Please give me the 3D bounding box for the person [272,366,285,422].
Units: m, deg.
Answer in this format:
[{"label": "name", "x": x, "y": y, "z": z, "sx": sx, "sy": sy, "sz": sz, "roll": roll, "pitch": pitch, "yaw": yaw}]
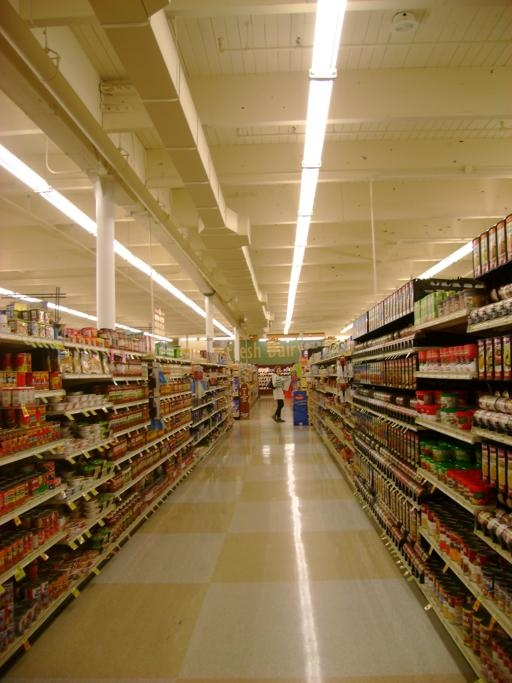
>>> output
[{"label": "person", "x": 0.634, "y": 1.524, "z": 13.389, "sx": 0.360, "sy": 1.570, "sz": 1.049, "roll": -2, "pitch": -4, "yaw": 3}]
